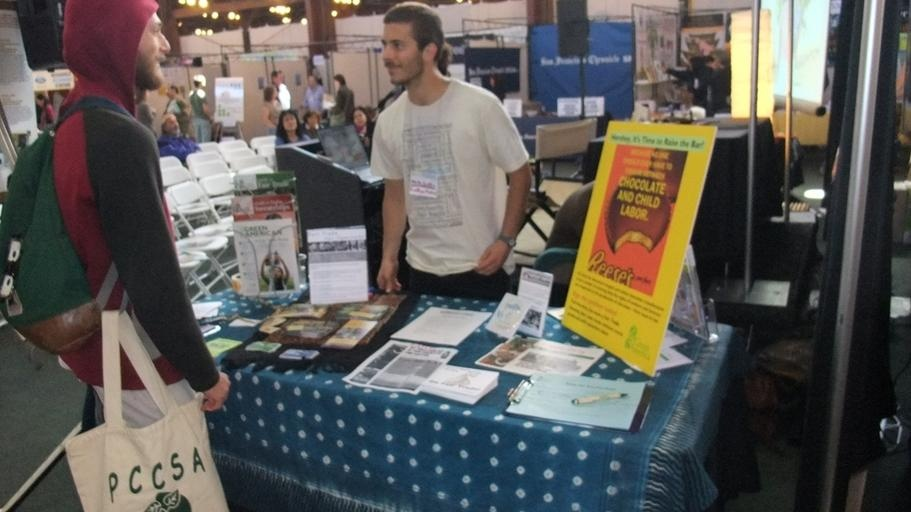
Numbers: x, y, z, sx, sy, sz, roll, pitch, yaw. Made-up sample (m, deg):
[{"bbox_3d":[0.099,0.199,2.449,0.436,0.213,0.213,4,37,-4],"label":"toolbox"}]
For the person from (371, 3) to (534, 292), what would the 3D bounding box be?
[{"bbox_3d":[-0.030,-0.503,3.323,0.804,1.464,0.390,-4,19,-3],"label":"person"}]

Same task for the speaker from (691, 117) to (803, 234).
[{"bbox_3d":[1.578,-0.420,3.590,0.577,0.561,0.853,5,14,33],"label":"speaker"}]

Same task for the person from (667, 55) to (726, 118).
[{"bbox_3d":[3.519,-2.508,9.520,0.711,0.757,2.246,2,18,15],"label":"person"}]
